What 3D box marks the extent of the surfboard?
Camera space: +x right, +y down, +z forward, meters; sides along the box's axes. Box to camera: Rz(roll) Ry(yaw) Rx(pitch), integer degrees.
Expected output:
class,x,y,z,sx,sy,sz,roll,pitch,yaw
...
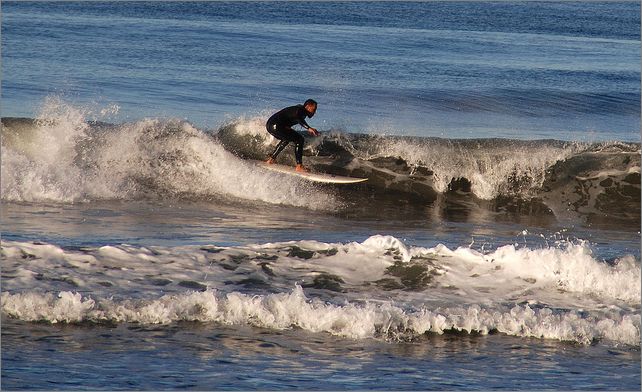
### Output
class,x,y,z,sx,sy,sz,roll,pitch,yaw
surfboard,-0.708,-1.077,61.838,4.933,0.236,0.583,8,16,22
